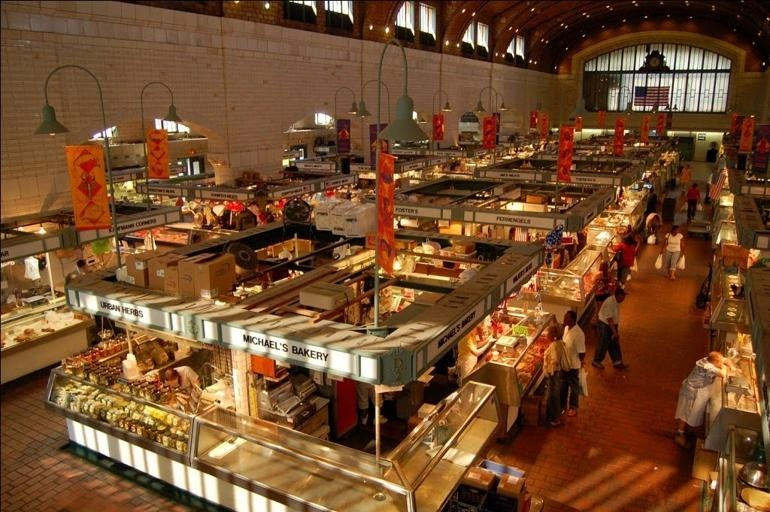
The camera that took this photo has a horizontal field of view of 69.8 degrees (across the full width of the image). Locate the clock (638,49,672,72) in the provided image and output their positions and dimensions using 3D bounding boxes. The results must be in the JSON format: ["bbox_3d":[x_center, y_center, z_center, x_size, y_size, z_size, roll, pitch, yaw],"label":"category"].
[{"bbox_3d":[20.710,-14.807,42.178,2.181,1.522,0.257,7,8,35],"label":"clock"}]

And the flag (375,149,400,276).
[{"bbox_3d":[0.033,-0.505,6.377,0.299,1.496,0.062,1,0,-39],"label":"flag"}]

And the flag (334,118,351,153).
[{"bbox_3d":[-1.571,-4.437,20.768,0.512,1.236,0.408,-7,15,-18],"label":"flag"}]

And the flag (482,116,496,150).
[{"bbox_3d":[4.174,-4.870,22.100,0.451,1.204,1.048,0,14,7],"label":"flag"}]

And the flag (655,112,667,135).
[{"bbox_3d":[18.165,-8.530,36.237,0.571,1.477,4.448,5,16,26],"label":"flag"}]

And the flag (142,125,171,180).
[{"bbox_3d":[-5.675,-2.501,13.807,0.564,1.206,0.958,-8,15,-22],"label":"flag"}]

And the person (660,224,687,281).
[{"bbox_3d":[8.166,-0.146,15.674,0.529,1.487,1.051,5,16,27],"label":"person"}]

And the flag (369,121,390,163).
[{"bbox_3d":[-0.301,-4.016,20.334,0.040,1.550,0.599,13,-6,-42],"label":"flag"}]

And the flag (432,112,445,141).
[{"bbox_3d":[2.331,-5.583,24.184,0.294,1.022,1.119,2,15,17],"label":"flag"}]

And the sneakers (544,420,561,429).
[{"bbox_3d":[2.931,2.929,9.589,0.113,0.129,0.305,-3,-3,-2],"label":"sneakers"}]

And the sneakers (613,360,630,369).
[{"bbox_3d":[4.759,2.240,11.180,0.309,0.226,0.120,0,26,12],"label":"sneakers"}]

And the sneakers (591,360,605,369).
[{"bbox_3d":[4.341,2.231,11.252,0.116,0.088,0.223,-19,15,-33],"label":"sneakers"}]

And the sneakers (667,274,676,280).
[{"bbox_3d":[8.095,0.587,15.583,0.196,0.111,0.218,-1,29,46],"label":"sneakers"}]
